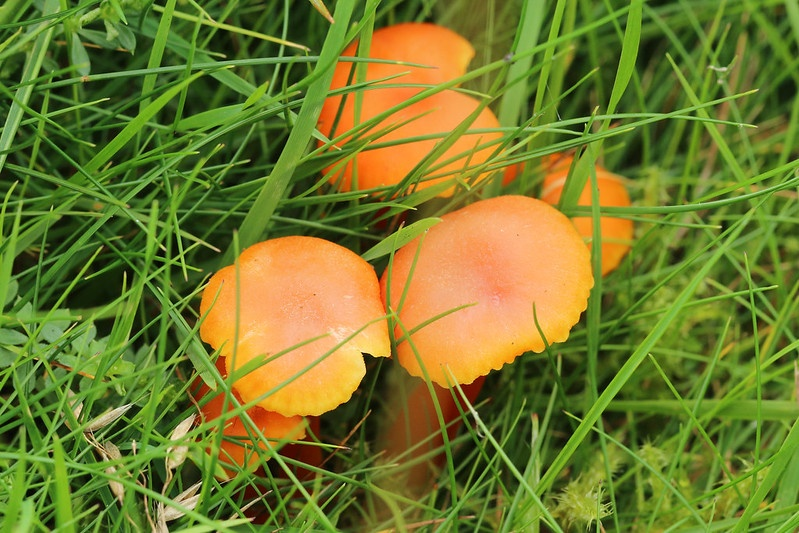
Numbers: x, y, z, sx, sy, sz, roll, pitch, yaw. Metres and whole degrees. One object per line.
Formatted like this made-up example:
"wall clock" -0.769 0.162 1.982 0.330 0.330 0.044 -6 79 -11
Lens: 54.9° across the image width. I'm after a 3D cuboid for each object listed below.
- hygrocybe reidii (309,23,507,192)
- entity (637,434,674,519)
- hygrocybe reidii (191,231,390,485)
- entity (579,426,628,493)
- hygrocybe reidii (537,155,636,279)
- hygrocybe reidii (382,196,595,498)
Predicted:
"hygrocybe reidii" 0.039 -0.539 2.473 0.574 0.546 0.657 7 50 -9
"entity" 0.793 0.659 2.383 0.123 0.122 0.257 -7 52 2
"hygrocybe reidii" -0.357 0.242 2.361 0.578 0.595 0.600 -31 73 -26
"entity" 0.669 0.627 2.477 0.156 0.290 0.120 1 -1 39
"hygrocybe reidii" 0.676 -0.185 2.638 0.383 0.105 0.397 -7 79 -49
"hygrocybe reidii" 0.248 0.237 2.317 0.527 0.778 0.468 -25 64 -19
